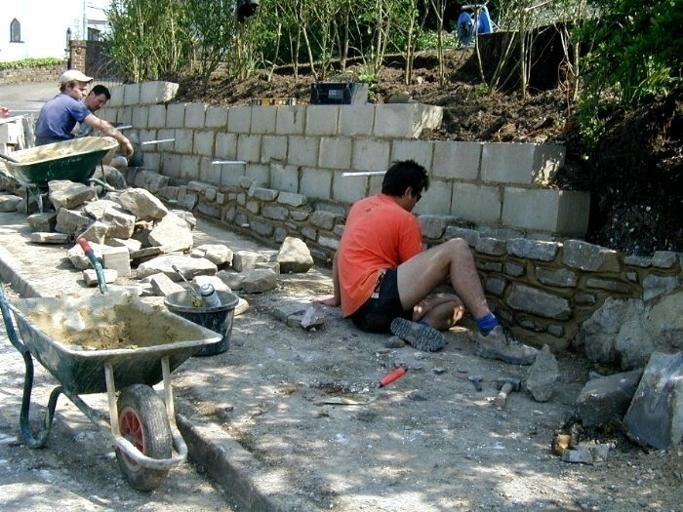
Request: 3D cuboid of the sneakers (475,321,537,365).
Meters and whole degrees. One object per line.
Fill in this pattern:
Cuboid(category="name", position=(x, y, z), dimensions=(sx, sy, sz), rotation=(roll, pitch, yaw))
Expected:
Cuboid(category="sneakers", position=(1.287, 0.704, 5.407), dimensions=(0.540, 0.271, 0.203), rotation=(12, 8, 12))

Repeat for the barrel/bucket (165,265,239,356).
Cuboid(category="barrel/bucket", position=(-1.092, 0.444, 5.282), dimensions=(0.462, 0.501, 0.702), rotation=(-6, 9, -29))

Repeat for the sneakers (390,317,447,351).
Cuboid(category="sneakers", position=(0.611, 0.634, 5.526), dimensions=(0.452, 0.210, 0.210), rotation=(18, 11, 35))

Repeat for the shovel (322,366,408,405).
Cuboid(category="shovel", position=(0.199, 0.958, 4.762), dimensions=(0.225, 0.067, 0.624), rotation=(5, 18, 44))

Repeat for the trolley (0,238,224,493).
Cuboid(category="trolley", position=(-1.519, 0.669, 4.350), dimensions=(0.853, 1.010, 1.858), rotation=(-5, 16, -39))
